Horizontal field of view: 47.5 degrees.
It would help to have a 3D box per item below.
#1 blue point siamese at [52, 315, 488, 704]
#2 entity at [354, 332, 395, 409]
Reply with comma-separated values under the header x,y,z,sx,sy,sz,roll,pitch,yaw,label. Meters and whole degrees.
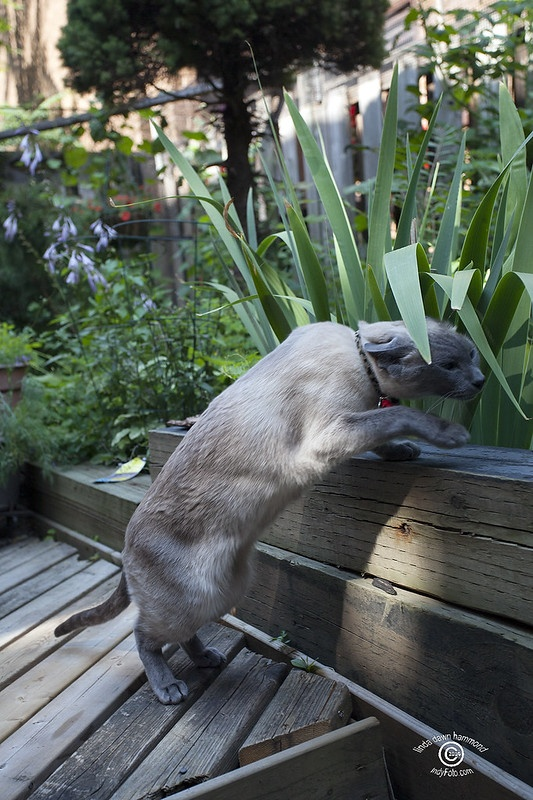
x,y,z,sx,sy,sz,roll,pitch,yaw,label
-0.023,0.253,1.327,1.042,0.675,0.360,-13,0,4,blue point siamese
0.205,-0.058,1.208,0.061,0.146,0.118,-20,26,-25,entity
